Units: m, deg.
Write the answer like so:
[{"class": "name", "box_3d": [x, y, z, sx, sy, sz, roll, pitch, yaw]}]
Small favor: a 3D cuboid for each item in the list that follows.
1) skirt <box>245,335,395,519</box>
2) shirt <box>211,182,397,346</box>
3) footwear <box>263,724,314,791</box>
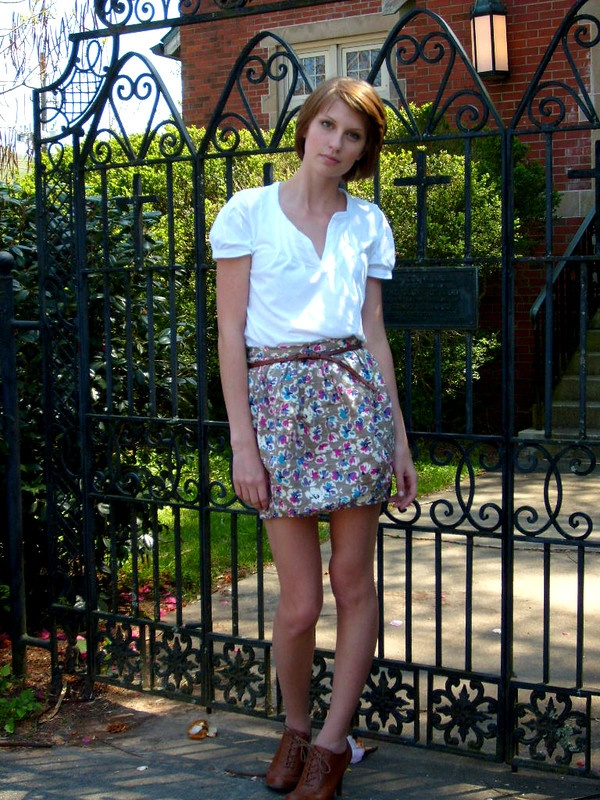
[{"class": "skirt", "box_3d": [0.039, 0.079, 2.975, 0.492, 0.543, 0.319, -6, 0, -19]}, {"class": "shirt", "box_3d": [0.012, -0.370, 3.057, 0.562, 0.492, 0.296, 2, -4, -18]}, {"class": "footwear", "box_3d": [-0.018, 1.040, 3.213, 0.084, 0.104, 0.244, 16, 32, 6]}]
